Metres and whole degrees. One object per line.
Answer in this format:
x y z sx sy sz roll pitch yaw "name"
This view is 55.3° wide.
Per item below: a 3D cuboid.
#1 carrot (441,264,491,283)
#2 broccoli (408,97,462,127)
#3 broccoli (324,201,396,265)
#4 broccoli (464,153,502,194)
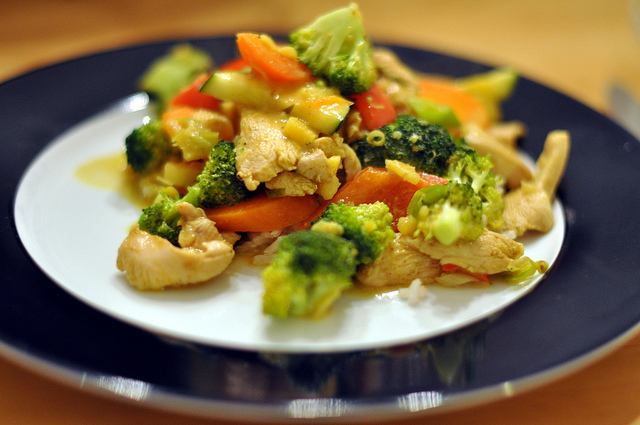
0.915 0.370 3.839 0.165 0.165 0.048 20 80 12 "carrot"
0.843 -0.739 4.528 0.356 0.219 0.087 28 44 10 "broccoli"
0.245 0.073 3.841 0.389 0.134 0.403 -2 46 -47 "broccoli"
1.097 -0.238 4.126 0.250 0.094 0.246 -38 54 -5 "broccoli"
